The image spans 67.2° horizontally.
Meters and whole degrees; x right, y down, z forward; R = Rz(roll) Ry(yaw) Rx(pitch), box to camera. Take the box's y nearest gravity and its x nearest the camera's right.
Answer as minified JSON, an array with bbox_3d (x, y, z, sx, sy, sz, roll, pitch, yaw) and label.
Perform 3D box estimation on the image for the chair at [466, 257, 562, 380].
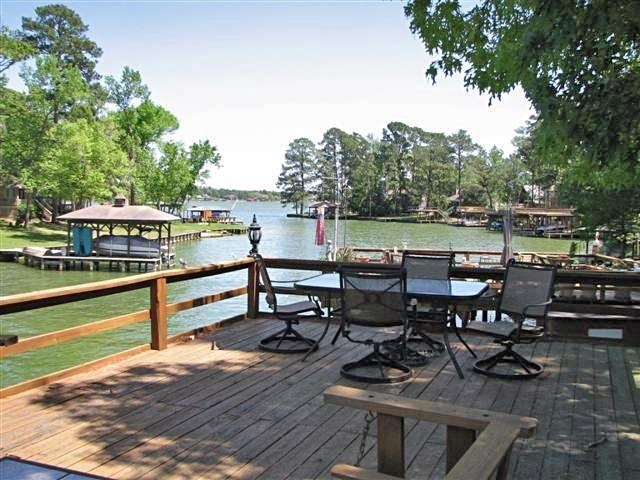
[{"bbox_3d":[1.953,0.792,4.878,0.725,1.141,0.957,4,4,27],"label":"chair"}]

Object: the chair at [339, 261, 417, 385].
[{"bbox_3d":[0.542,0.816,4.689,0.921,1.030,0.853,3,-6,-34],"label":"chair"}]

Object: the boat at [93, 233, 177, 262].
[{"bbox_3d":[-11.119,0.753,28.137,5.269,1.269,1.936,3,9,11],"label":"boat"}]

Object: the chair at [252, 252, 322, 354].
[{"bbox_3d":[-0.353,0.758,5.656,0.879,1.008,0.697,3,-2,-13],"label":"chair"}]

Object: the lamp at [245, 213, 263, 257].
[{"bbox_3d":[-1.064,-0.058,7.702,0.298,0.672,0.262,2,5,22],"label":"lamp"}]
